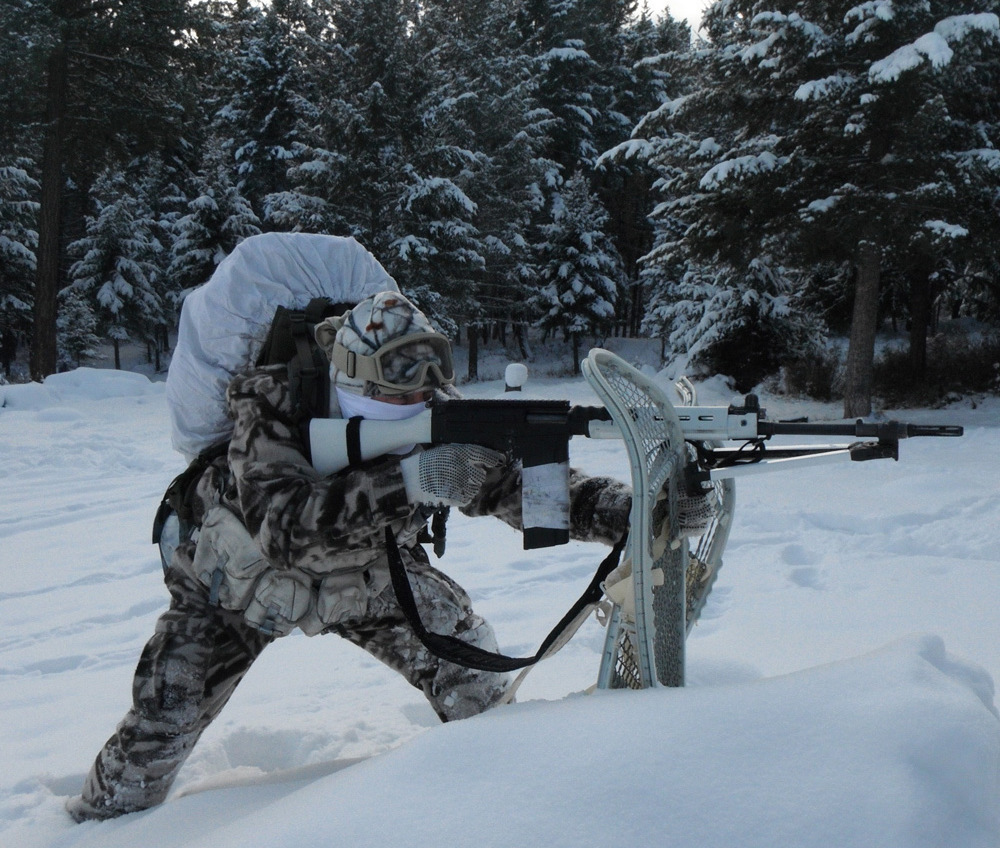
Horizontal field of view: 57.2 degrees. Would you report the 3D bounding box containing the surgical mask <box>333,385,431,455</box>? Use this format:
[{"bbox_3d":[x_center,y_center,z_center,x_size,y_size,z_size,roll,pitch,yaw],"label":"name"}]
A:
[{"bbox_3d":[-0.520,-0.003,4.022,0.339,0.275,0.287,-13,5,16],"label":"surgical mask"}]

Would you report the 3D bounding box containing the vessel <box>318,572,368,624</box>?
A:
[{"bbox_3d":[-0.715,0.767,4.160,0.219,0.267,0.165,-4,6,-29],"label":"vessel"}]

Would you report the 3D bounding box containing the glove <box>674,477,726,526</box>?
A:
[{"bbox_3d":[0.745,0.292,3.495,0.113,0.221,0.084,4,36,6],"label":"glove"}]

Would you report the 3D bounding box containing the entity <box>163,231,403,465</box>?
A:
[{"bbox_3d":[-1.312,-0.455,5.028,1.154,1.389,0.971,11,-1,22],"label":"entity"}]

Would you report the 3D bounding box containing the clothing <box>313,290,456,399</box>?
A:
[{"bbox_3d":[-0.565,-0.404,4.322,0.511,0.490,0.667,-8,13,-40],"label":"clothing"}]

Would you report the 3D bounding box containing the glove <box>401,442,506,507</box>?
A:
[{"bbox_3d":[-0.219,0.226,3.778,0.299,0.152,0.254,-12,-41,9],"label":"glove"}]

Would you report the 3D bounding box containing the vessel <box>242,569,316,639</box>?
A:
[{"bbox_3d":[-0.986,0.781,4.041,0.185,0.248,0.140,43,-3,-41],"label":"vessel"}]
